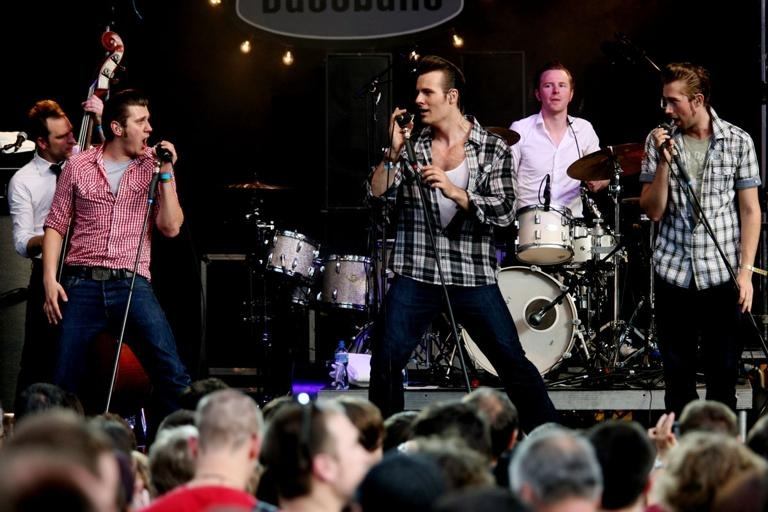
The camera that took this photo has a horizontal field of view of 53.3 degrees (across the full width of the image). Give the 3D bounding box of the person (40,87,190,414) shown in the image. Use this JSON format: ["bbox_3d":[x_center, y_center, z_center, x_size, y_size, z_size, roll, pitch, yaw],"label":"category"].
[{"bbox_3d":[-1.573,-0.067,4.540,0.939,1.908,0.466,0,-8,20],"label":"person"}]

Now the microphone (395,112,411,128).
[{"bbox_3d":[0.105,-0.738,4.175,0.093,0.104,0.101,2,-7,-1],"label":"microphone"}]

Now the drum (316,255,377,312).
[{"bbox_3d":[-0.332,0.227,6.288,0.489,0.331,0.464,1,-2,0],"label":"drum"}]

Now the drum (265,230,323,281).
[{"bbox_3d":[-0.771,0.015,6.629,0.433,0.320,0.415,14,-7,2],"label":"drum"}]

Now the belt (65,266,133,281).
[{"bbox_3d":[-1.682,0.108,4.474,0.408,0.086,0.106,0,-7,17],"label":"belt"}]

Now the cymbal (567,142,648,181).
[{"bbox_3d":[1.634,-0.691,5.678,0.541,0.229,0.475,1,-6,12],"label":"cymbal"}]

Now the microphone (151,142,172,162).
[{"bbox_3d":[-1.269,-0.593,4.415,0.107,0.105,0.100,2,-7,-1],"label":"microphone"}]

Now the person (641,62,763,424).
[{"bbox_3d":[1.782,-0.115,4.285,0.648,1.992,0.568,1,-8,10],"label":"person"}]

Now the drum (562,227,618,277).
[{"bbox_3d":[1.570,-0.048,5.827,0.410,0.281,0.318,-2,0,6],"label":"drum"}]

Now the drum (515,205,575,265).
[{"bbox_3d":[1.175,-0.148,5.575,0.407,0.283,0.411,0,-2,0],"label":"drum"}]

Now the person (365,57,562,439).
[{"bbox_3d":[0.406,-0.089,4.386,0.970,2.156,0.548,5,-8,-21],"label":"person"}]

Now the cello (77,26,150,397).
[{"bbox_3d":[-1.615,-0.480,5.130,0.311,2.206,0.854,4,-6,-2],"label":"cello"}]
